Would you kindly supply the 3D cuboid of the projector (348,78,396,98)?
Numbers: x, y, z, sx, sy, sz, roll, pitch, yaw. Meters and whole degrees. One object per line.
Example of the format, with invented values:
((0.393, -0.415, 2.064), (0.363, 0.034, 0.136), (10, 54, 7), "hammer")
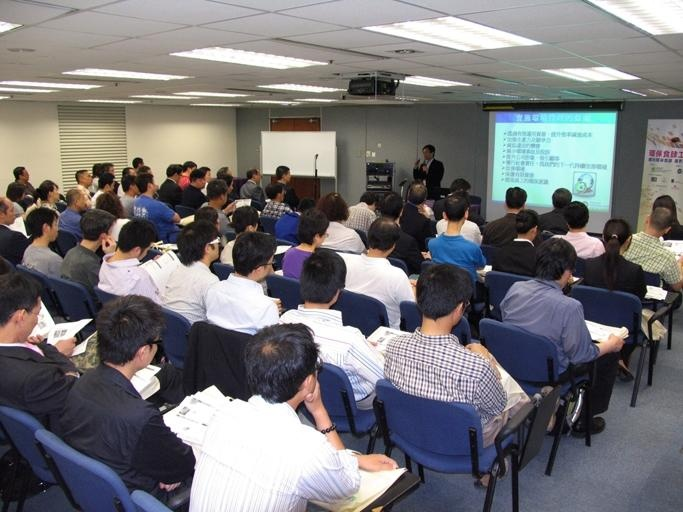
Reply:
((0.428, -2.159, 6.173), (0.655, 0.264, 0.338), (0, 11, 6), "projector")
